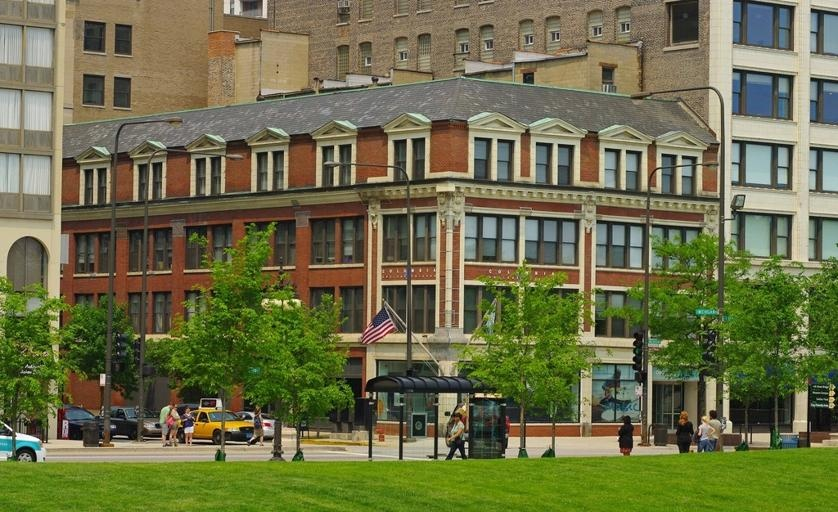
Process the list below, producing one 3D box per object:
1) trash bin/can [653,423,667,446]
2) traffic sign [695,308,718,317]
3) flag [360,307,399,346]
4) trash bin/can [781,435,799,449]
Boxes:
[{"bbox_3d":[15.387,11.203,133.975,0.821,1.344,0.848,0,-9,-4],"label":"trash bin/can"},{"bbox_3d":[17.338,3.208,126.503,1.485,0.459,0.924,-5,-9,26],"label":"traffic sign"},{"bbox_3d":[-2.366,4.280,136.842,3.035,3.239,0.060,-10,-50,13],"label":"flag"},{"bbox_3d":[21.556,10.655,122.591,1.032,0.754,0.917,0,-1,9],"label":"trash bin/can"}]
